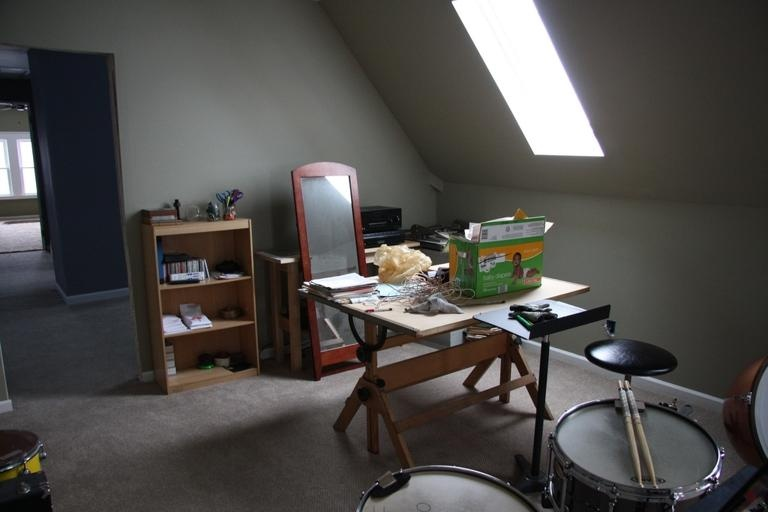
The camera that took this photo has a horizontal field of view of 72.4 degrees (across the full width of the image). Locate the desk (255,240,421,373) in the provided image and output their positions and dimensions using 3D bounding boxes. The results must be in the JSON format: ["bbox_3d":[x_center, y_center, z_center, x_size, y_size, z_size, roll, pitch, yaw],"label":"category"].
[{"bbox_3d":[-0.573,0.429,5.370,0.926,1.372,1.248,10,14,42],"label":"desk"}]

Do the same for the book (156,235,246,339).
[{"bbox_3d":[-1.701,0.259,4.781,0.884,0.997,0.332,-6,10,-39],"label":"book"}]

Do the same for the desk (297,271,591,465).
[{"bbox_3d":[0.480,0.820,4.133,1.820,1.132,1.247,-7,13,-36],"label":"desk"}]

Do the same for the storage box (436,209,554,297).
[{"bbox_3d":[0.855,-0.020,3.854,0.727,0.510,0.376,-7,10,-29],"label":"storage box"}]
